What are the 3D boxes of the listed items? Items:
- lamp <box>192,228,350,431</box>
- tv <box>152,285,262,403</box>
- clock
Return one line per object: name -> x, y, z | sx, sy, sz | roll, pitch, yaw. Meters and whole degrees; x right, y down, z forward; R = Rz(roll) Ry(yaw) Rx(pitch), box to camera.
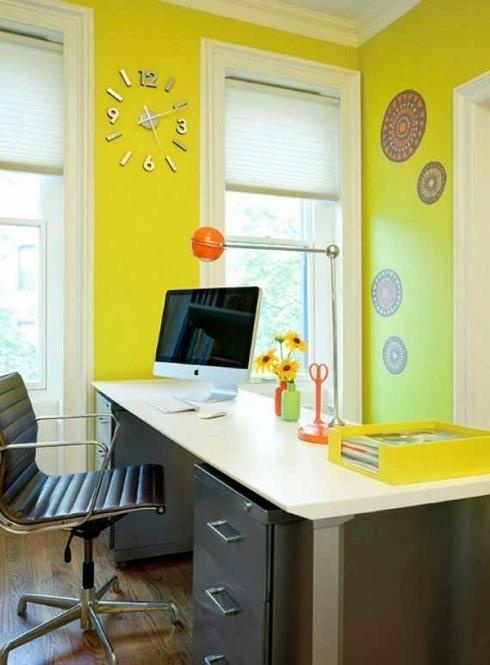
lamp -> 0.065, -0.043, 1.848 | 0.580, 0.729, 0.163 | 4, -32, 2
tv -> -0.147, 0.049, 2.238 | 0.548, 0.456, 0.140 | 2, 3, 43
clock -> -0.539, -1.135, 2.991 | 0.621, 0.668, 0.067 | 0, -1, -30
